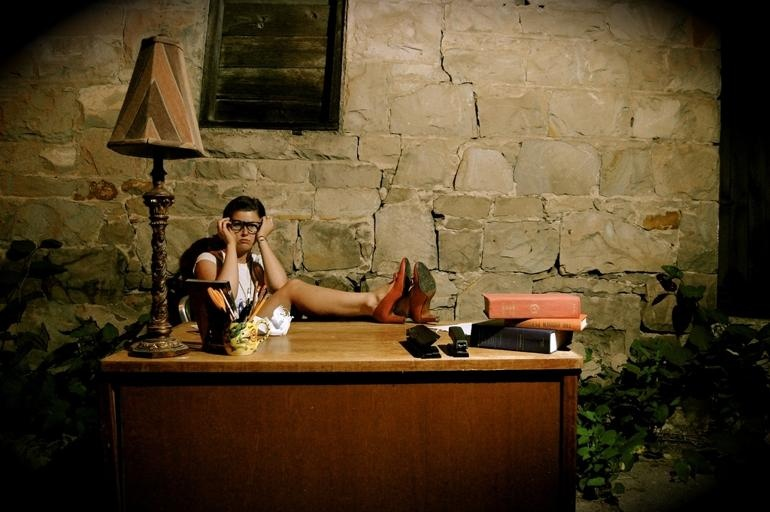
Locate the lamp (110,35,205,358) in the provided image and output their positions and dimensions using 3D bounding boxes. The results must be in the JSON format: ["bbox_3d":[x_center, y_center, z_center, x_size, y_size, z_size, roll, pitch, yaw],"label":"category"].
[{"bbox_3d":[-1.231,-0.334,3.863,0.488,1.683,0.460,3,2,-16],"label":"lamp"}]

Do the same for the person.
[{"bbox_3d":[-0.486,0.052,4.652,1.526,0.867,0.653,-1,2,16],"label":"person"}]

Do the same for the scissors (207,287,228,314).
[{"bbox_3d":[-0.863,0.219,3.756,0.118,0.117,0.042,41,-48,-15],"label":"scissors"}]
